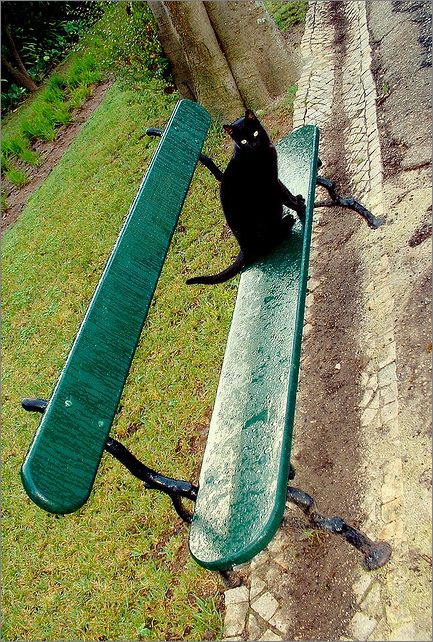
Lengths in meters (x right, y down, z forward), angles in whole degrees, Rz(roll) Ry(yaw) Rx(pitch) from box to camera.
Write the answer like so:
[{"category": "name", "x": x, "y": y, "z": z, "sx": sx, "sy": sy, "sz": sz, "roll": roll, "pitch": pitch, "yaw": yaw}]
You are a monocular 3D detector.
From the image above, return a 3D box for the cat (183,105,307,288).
[{"category": "cat", "x": 0.249, "y": -0.711, "z": 3.105, "sx": 0.209, "sy": 0.560, "sz": 0.802, "roll": -19, "pitch": 4, "yaw": 8}]
